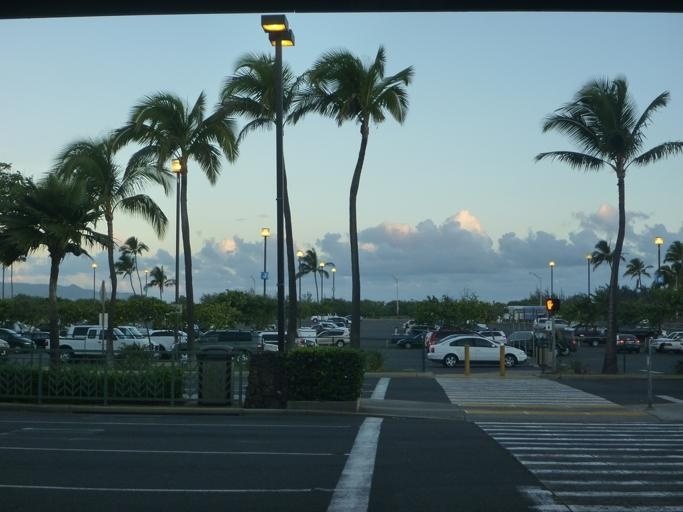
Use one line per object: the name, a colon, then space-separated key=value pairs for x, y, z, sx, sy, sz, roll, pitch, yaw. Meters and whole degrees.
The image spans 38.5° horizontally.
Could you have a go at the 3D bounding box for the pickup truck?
pickup truck: x=-12.488 y=4.272 z=48.865 sx=5.714 sy=2.747 sz=2.664 roll=0 pitch=-3 yaw=0

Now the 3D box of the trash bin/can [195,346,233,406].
trash bin/can: x=-4.131 y=3.933 z=32.199 sx=1.429 sy=2.401 sz=1.526 roll=0 pitch=0 yaw=-2

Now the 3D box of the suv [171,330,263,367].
suv: x=-5.544 y=4.179 z=44.543 sx=3.642 sy=1.595 sz=1.548 roll=0 pitch=-3 yaw=3
